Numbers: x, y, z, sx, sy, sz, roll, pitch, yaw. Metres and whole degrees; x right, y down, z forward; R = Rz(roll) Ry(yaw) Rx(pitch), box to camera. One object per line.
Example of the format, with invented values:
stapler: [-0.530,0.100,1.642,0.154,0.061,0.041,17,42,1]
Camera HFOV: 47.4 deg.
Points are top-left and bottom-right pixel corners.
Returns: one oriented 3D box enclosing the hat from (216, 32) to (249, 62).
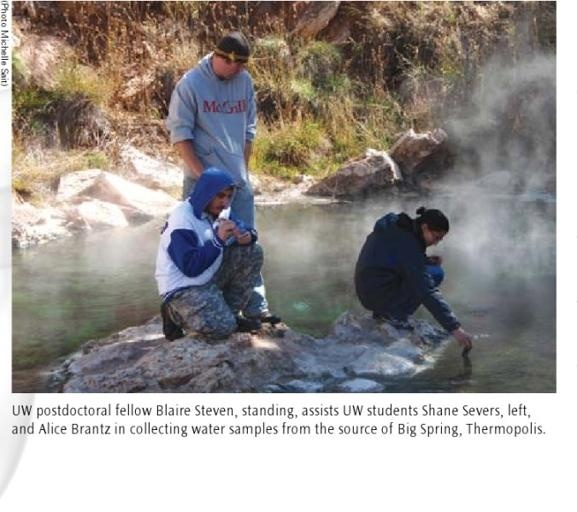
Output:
hat: [-0.465,-1.664,5.251,0.240,0.206,0.217,-9,-36,9]

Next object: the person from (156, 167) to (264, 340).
person: [-0.643,-0.011,5.173,0.711,1.320,0.771,-4,13,-4]

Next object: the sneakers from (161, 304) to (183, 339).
sneakers: [-0.919,0.518,5.200,0.153,0.248,0.121,-14,44,3]
